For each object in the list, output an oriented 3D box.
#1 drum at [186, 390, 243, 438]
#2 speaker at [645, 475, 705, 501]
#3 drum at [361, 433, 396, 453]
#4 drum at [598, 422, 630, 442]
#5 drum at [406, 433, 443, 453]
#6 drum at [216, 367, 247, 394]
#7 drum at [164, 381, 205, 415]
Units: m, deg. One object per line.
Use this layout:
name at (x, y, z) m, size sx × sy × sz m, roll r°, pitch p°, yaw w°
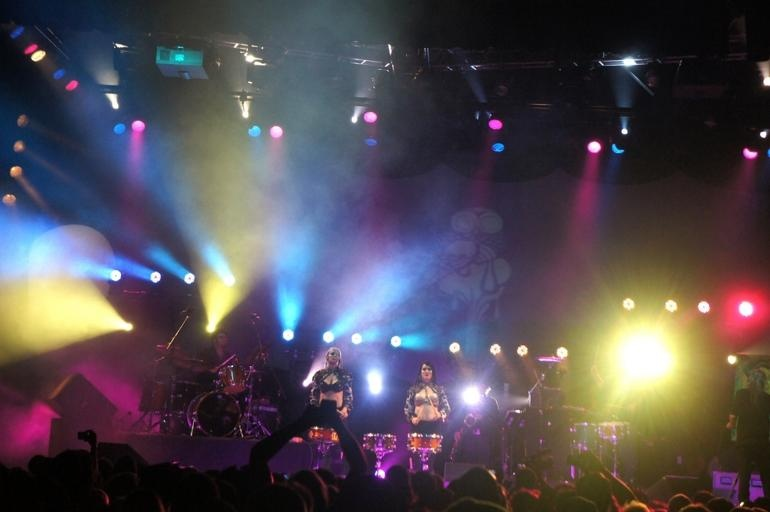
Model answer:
drum at (-3.053, 2.835, 12.088) m, size 0.945 × 0.834 × 0.709 m, roll -1°, pitch -3°, yaw -18°
speaker at (4.756, 3.790, 11.082) m, size 1.020 × 0.311 × 0.870 m, roll 1°, pitch -10°, yaw 2°
drum at (-0.065, 3.454, 12.556) m, size 0.504 × 0.177 × 0.499 m, roll 2°, pitch -11°, yaw 0°
drum at (4.044, 3.132, 12.074) m, size 0.400 × 0.266 × 0.384 m, roll 2°, pitch -4°, yaw 0°
drum at (0.708, 3.454, 12.388) m, size 0.482 × 0.196 × 0.471 m, roll 2°, pitch -12°, yaw 0°
drum at (-2.855, 2.327, 12.558) m, size 0.502 × 0.358 × 0.492 m, roll -1°, pitch -27°, yaw 0°
drum at (-3.872, 2.705, 13.013) m, size 0.631 × 0.605 × 0.607 m, roll 18°, pitch -16°, yaw -19°
